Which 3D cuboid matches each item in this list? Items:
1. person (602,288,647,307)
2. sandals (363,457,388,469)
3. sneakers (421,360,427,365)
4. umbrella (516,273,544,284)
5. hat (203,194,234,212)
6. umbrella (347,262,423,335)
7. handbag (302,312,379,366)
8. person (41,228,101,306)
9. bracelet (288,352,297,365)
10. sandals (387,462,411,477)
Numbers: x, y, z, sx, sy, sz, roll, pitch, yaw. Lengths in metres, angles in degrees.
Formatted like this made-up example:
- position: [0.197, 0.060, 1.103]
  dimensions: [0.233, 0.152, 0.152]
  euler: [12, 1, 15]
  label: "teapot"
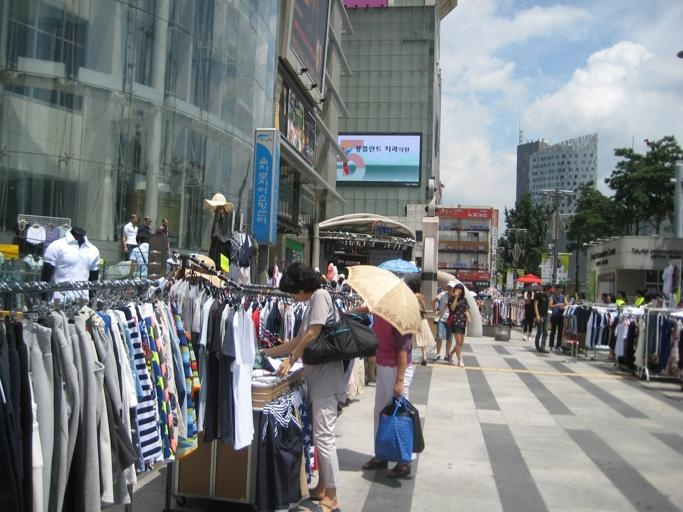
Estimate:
- position: [13.058, 1.935, 28.255]
  dimensions: [1.856, 0.792, 0.572]
  euler: [-11, 10, -16]
  label: "person"
- position: [0.395, 2.420, 7.161]
  dimensions: [0.358, 0.160, 0.133]
  euler: [5, -9, -14]
  label: "sandals"
- position: [1.991, 2.620, 14.902]
  dimensions: [0.079, 0.156, 0.140]
  euler: [-12, -21, 40]
  label: "sneakers"
- position: [11.556, 1.424, 38.139]
  dimensions: [1.723, 0.831, 1.777]
  euler: [0, -2, 43]
  label: "umbrella"
- position: [-2.270, -0.998, 11.401]
  dimensions: [0.439, 0.324, 1.252]
  euler: [3, 1, -12]
  label: "hat"
- position: [0.472, 0.498, 6.716]
  dimensions: [0.832, 0.735, 0.661]
  euler: [3, 0, 20]
  label: "umbrella"
- position: [-0.035, 0.797, 5.909]
  dimensions: [0.502, 0.549, 0.229]
  euler: [-7, -36, -13]
  label: "handbag"
- position: [-3.386, 0.126, 7.682]
  dimensions: [0.348, 1.277, 0.801]
  euler: [-1, -4, 40]
  label: "person"
- position: [-0.453, 0.993, 5.812]
  dimensions: [0.071, 0.126, 0.090]
  euler: [4, -38, 7]
  label: "bracelet"
- position: [0.655, 2.419, 6.918]
  dimensions: [0.236, 0.115, 0.125]
  euler: [5, -6, -13]
  label: "sandals"
